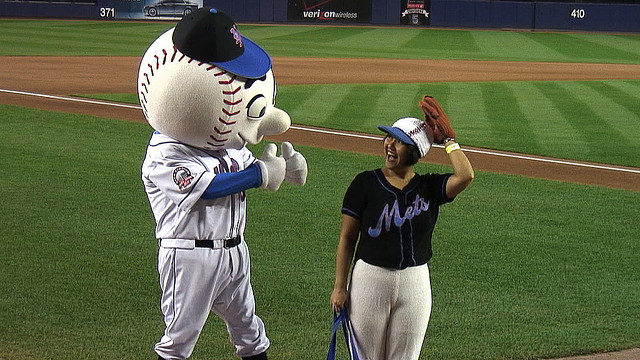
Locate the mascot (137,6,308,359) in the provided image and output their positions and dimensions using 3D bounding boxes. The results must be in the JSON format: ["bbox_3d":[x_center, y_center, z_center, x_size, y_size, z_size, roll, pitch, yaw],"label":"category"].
[{"bbox_3d":[-1.160,0.229,6.315,1.525,4.024,1.093,-1,20,-15],"label":"mascot"}]

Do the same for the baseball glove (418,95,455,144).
[{"bbox_3d":[1.289,-0.669,6.311,0.377,0.510,0.185,-19,9,17],"label":"baseball glove"}]

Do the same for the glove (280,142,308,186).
[{"bbox_3d":[-0.331,-0.179,6.691,0.361,0.437,0.198,-27,0,-42],"label":"glove"}]

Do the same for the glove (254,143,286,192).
[{"bbox_3d":[-0.523,-0.147,6.303,0.218,0.466,0.405,-13,-21,40],"label":"glove"}]

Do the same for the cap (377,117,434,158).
[{"bbox_3d":[0.920,-0.467,6.168,0.459,0.387,0.388,16,22,33],"label":"cap"}]

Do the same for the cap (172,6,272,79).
[{"bbox_3d":[-1.016,-1.431,6.074,1.048,0.371,0.660,24,40,-5],"label":"cap"}]
